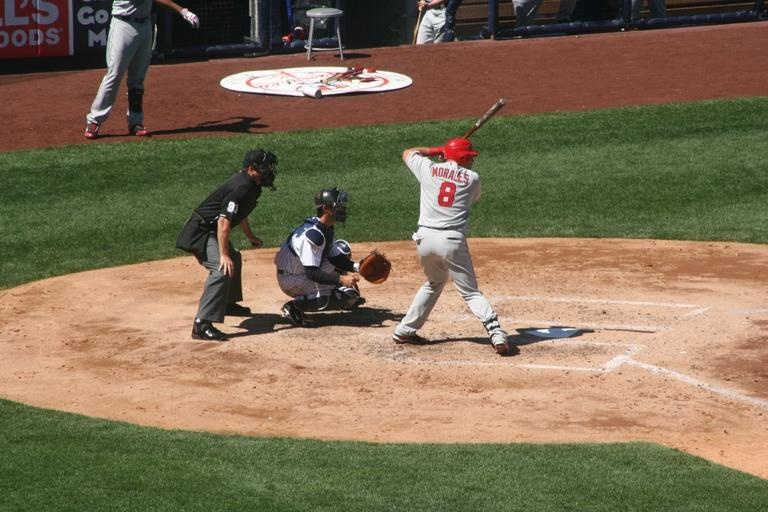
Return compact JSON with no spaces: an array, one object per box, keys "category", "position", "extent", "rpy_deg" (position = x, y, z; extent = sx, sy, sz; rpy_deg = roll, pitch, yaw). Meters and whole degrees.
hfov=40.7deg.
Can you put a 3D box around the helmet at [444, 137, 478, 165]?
[{"category":"helmet","position":[0.963,-1.205,11.961],"extent":[0.468,0.232,0.260],"rpy_deg":[-16,39,-5]}]

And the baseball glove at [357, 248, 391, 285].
[{"category":"baseball glove","position":[-0.112,0.141,12.476],"extent":[0.372,0.410,0.223],"rpy_deg":[-2,14,-12]}]

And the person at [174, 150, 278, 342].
[{"category":"person","position":[-1.915,-0.161,12.375],"extent":[1.026,2.202,1.033],"rpy_deg":[6,14,19]}]

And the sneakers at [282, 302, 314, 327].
[{"category":"sneakers","position":[-1.079,0.713,12.673],"extent":[0.424,0.197,0.159],"rpy_deg":[34,-1,-7]}]

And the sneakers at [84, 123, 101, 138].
[{"category":"sneakers","position":[-4.938,-2.091,17.556],"extent":[0.234,0.332,0.154],"rpy_deg":[5,40,6]}]

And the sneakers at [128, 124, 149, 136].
[{"category":"sneakers","position":[-4.132,-2.109,17.619],"extent":[0.316,0.117,0.163],"rpy_deg":[3,20,27]}]

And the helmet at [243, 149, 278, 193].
[{"category":"helmet","position":[-1.478,-1.040,12.475],"extent":[0.617,0.456,0.488],"rpy_deg":[0,10,-16]}]

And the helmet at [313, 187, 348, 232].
[{"category":"helmet","position":[-0.626,-0.624,12.610],"extent":[0.567,0.475,0.438],"rpy_deg":[-7,23,-6]}]

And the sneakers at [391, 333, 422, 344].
[{"category":"sneakers","position":[0.285,0.961,12.153],"extent":[0.351,0.122,0.117],"rpy_deg":[-1,15,-6]}]

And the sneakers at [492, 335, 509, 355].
[{"category":"sneakers","position":[1.369,1.002,11.903],"extent":[0.214,0.249,0.287],"rpy_deg":[3,12,8]}]

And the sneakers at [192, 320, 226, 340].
[{"category":"sneakers","position":[-1.963,0.880,12.229],"extent":[0.489,0.253,0.174],"rpy_deg":[0,9,5]}]
